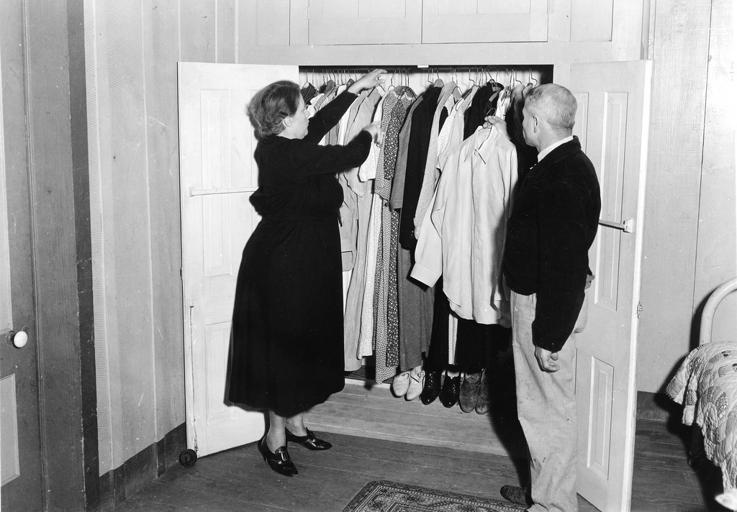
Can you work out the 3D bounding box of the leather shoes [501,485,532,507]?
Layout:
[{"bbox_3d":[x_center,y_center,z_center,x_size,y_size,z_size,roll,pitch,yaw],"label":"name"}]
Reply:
[{"bbox_3d":[0.797,1.296,4.375,0.156,0.070,0.065,18,23,36],"label":"leather shoes"}]

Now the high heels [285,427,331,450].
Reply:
[{"bbox_3d":[-0.355,1.124,4.941,0.301,0.130,0.113,15,-2,8],"label":"high heels"}]

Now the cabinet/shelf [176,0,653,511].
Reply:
[{"bbox_3d":[0.213,-0.052,4.514,2.538,2.572,0.869,1,9,9],"label":"cabinet/shelf"}]
